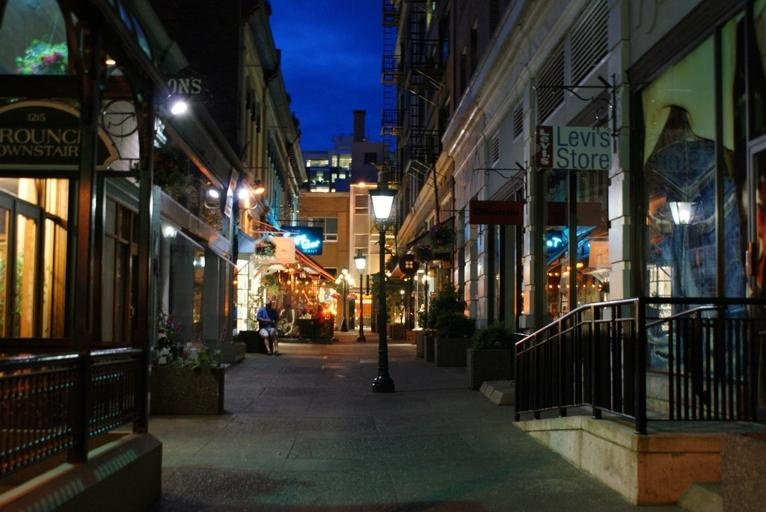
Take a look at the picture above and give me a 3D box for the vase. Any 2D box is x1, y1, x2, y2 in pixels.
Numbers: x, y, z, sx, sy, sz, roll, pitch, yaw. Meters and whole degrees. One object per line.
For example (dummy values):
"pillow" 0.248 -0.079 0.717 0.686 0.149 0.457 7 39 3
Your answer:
"vase" -3.335 2.292 13.021 0.851 0.621 0.914 1 -5 0

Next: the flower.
"flower" -3.677 1.734 13.914 1.283 0.689 1.875 4 -5 -9

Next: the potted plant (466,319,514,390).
"potted plant" 2.382 2.160 16.277 1.024 1.444 0.679 -1 -7 -4

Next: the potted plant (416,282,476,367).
"potted plant" 1.922 1.994 22.560 1.673 2.935 2.243 0 0 0

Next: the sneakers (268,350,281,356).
"sneakers" -3.589 3.183 24.620 0.425 0.192 0.150 -3 -2 24

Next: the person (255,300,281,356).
"person" -3.826 2.401 24.894 0.666 1.748 1.123 0 -7 -11
